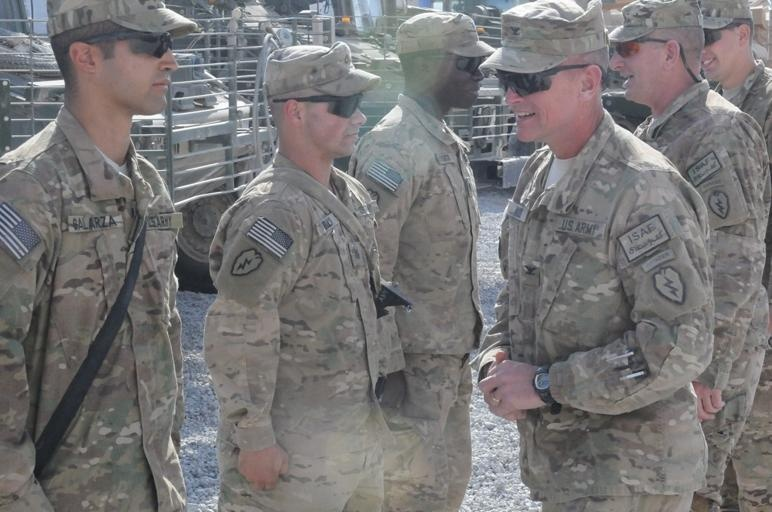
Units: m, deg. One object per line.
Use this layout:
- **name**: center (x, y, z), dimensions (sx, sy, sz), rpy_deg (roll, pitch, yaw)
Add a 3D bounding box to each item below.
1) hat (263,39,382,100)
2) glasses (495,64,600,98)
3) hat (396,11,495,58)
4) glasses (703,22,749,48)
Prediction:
- **hat**: center (-0.298, -0.807, 3.989), dimensions (0.387, 0.159, 0.256), rpy_deg (0, 12, 1)
- **glasses**: center (0.651, -0.758, 3.915), dimensions (0.239, 0.070, 0.188), rpy_deg (-19, 5, -7)
- **hat**: center (0.323, -1.187, 4.991), dimensions (0.506, 0.191, 0.332), rpy_deg (1, 10, -2)
- **glasses**: center (1.954, -1.283, 5.259), dimensions (0.199, 0.063, 0.148), rpy_deg (-11, -6, -12)
